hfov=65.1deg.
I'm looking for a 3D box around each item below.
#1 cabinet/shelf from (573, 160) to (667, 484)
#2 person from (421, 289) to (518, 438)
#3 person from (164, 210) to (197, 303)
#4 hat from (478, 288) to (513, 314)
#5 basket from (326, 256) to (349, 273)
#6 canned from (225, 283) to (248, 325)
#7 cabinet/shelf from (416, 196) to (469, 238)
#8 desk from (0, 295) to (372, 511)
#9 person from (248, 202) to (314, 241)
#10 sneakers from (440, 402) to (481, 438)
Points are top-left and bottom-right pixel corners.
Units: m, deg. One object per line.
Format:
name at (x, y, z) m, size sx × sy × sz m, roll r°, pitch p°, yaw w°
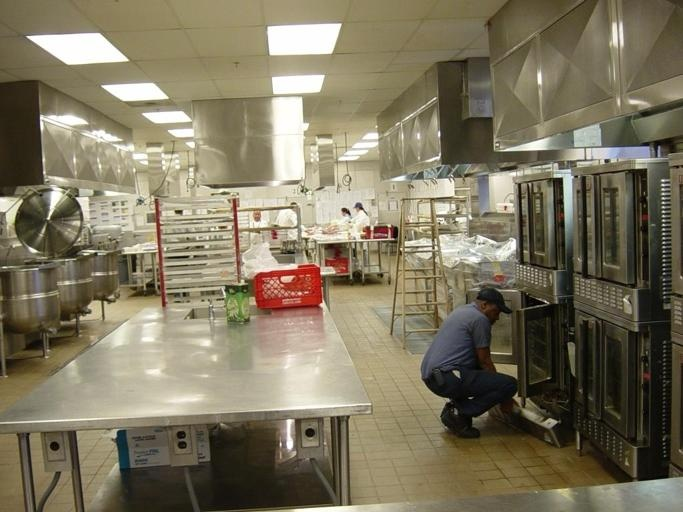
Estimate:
cabinet/shelf at (1.959, 0.354, 3.563) m, size 0.652 × 1.873 × 0.886 m, roll -2°, pitch 3°, yaw 4°
person at (1.022, 0.838, 4.227) m, size 0.832 × 1.132 × 0.614 m, roll 4°, pitch -1°, yaw -24°
person at (-1.684, -0.076, 5.557) m, size 0.329 × 0.934 × 0.256 m, roll 1°, pitch 14°, yaw -20°
hat at (1.169, 0.332, 4.137) m, size 0.257 × 0.139 × 0.164 m, roll 21°, pitch 4°, yaw 5°
basket at (-0.061, 0.195, 11.403) m, size 0.508 × 0.335 × 0.324 m, roll -1°, pitch -1°, yaw -9°
canned at (-0.708, 0.326, 3.666) m, size 0.170 × 0.245 × 0.167 m, roll -2°, pitch 3°, yaw -11°
cabinet/shelf at (1.741, -0.638, 9.124) m, size 0.883 × 1.111 × 1.164 m, roll -1°, pitch 4°, yaw 9°
desk at (-0.693, 0.822, 3.134) m, size 1.627 × 0.624 × 1.667 m, roll -3°, pitch 9°, yaw -1°
person at (-1.348, -0.761, 11.966) m, size 1.379 × 0.858 × 1.378 m, roll -2°, pitch 5°, yaw -8°
sneakers at (0.896, 1.285, 4.098) m, size 0.128 × 0.172 × 0.376 m, roll 2°, pitch -6°, yaw -20°
